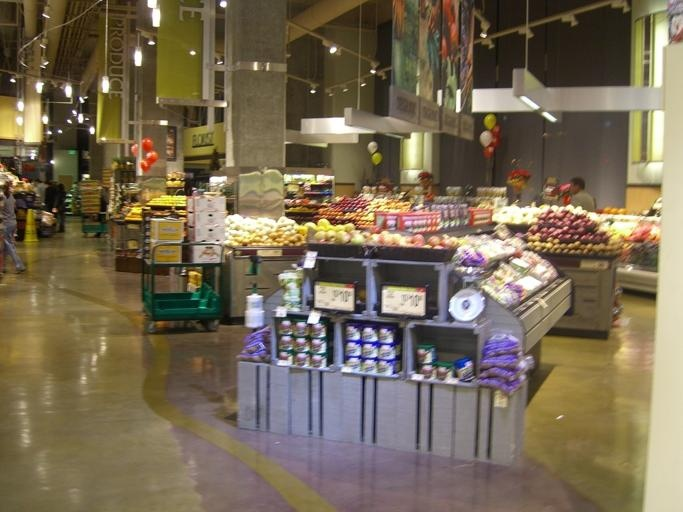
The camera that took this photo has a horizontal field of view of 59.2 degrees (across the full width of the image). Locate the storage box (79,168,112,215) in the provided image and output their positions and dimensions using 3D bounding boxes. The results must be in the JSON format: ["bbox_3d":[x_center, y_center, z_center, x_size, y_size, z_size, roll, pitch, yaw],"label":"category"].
[{"bbox_3d":[-9.778,-2.528,23.932,1.022,1.765,5.033,-2,7,-23],"label":"storage box"}]

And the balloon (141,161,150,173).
[{"bbox_3d":[-4.975,-2.285,15.294,0.191,0.217,0.190,24,40,25],"label":"balloon"}]

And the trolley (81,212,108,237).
[{"bbox_3d":[-8.891,-1.142,21.843,1.079,0.928,0.767,0,-2,15],"label":"trolley"}]

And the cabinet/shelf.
[{"bbox_3d":[0.572,0.584,4.344,2.633,1.326,1.430,0,6,-7],"label":"cabinet/shelf"}]

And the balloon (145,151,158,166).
[{"bbox_3d":[-4.839,-2.498,15.336,0.272,0.347,0.397,-2,6,-19],"label":"balloon"}]

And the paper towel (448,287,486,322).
[{"bbox_3d":[0.841,0.323,3.982,0.261,0.213,0.141,0,6,-2],"label":"paper towel"}]

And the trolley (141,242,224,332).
[{"bbox_3d":[-2.051,0.017,7.753,1.054,1.296,1.736,0,3,-11],"label":"trolley"}]
